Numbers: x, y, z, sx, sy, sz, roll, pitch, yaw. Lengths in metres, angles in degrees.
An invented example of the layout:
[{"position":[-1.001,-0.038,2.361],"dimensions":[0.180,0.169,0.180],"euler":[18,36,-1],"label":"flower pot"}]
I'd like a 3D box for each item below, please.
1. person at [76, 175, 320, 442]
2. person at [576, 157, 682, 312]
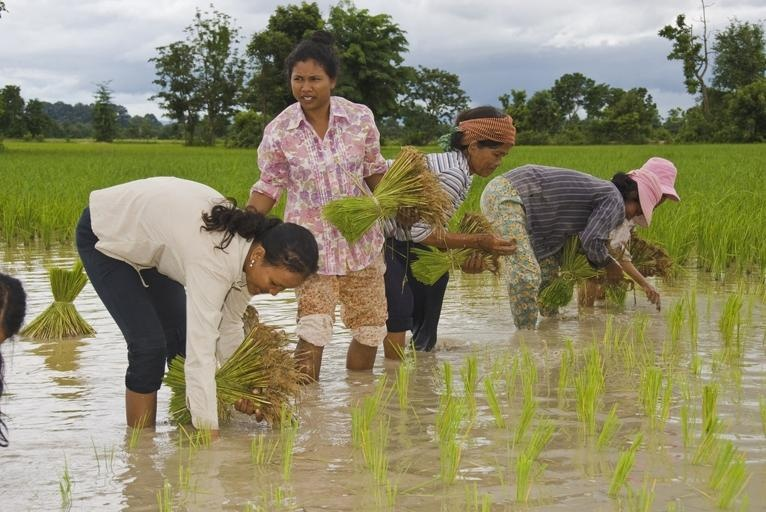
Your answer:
[{"position":[-1.200,0.329,5.193],"dimensions":[1.387,1.680,0.755],"euler":[3,8,37],"label":"person"},{"position":[2.537,-0.139,8.340],"dimensions":[1.072,0.919,1.787],"euler":[9,-37,6],"label":"person"}]
